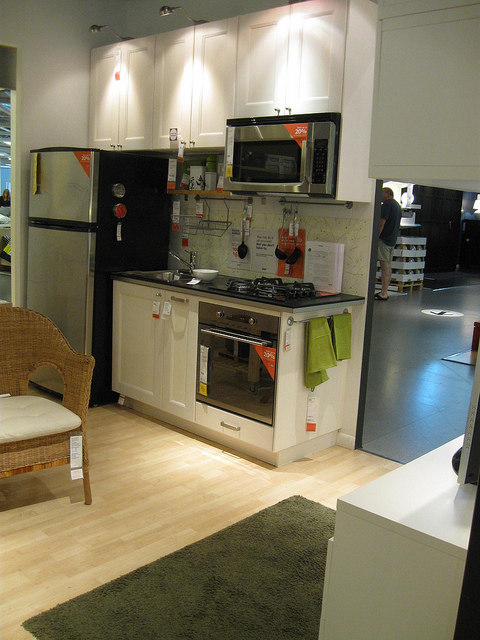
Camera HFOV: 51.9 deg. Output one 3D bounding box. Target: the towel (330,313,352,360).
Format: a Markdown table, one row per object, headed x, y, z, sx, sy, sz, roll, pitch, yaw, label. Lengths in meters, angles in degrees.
| x | y | z | sx | sy | sz | roll | pitch | yaw | label |
| --- | --- | --- | --- | --- | --- | --- | --- | --- | --- |
| 0.615 | 0.101 | 3.024 | 0.069 | 0.256 | 0.201 | 6 | 8 | 40 | towel |

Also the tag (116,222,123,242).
| x | y | z | sx | sy | sz | roll | pitch | yaw | label |
| --- | --- | --- | --- | --- | --- | --- | --- | --- | --- |
| -0.906 | -0.657 | 3.708 | 0.015 | 0.131 | 0.055 | 9 | 14 | 27 | tag |

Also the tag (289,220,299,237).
| x | y | z | sx | sy | sz | roll | pitch | yaw | label |
| --- | --- | --- | --- | --- | --- | --- | --- | --- | --- |
| 0.358 | -0.623 | 3.386 | 0.074 | 0.117 | 0.081 | 8 | 13 | 21 | tag |

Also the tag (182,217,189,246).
| x | y | z | sx | sy | sz | roll | pitch | yaw | label |
| --- | --- | --- | --- | --- | --- | --- | --- | --- | --- |
| -0.454 | -0.729 | 4.098 | 0.071 | 0.233 | 0.018 | 13 | 16 | 39 | tag |

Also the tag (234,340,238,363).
| x | y | z | sx | sy | sz | roll | pitch | yaw | label |
| --- | --- | --- | --- | --- | --- | --- | --- | --- | --- |
| -0.027 | 0.193 | 2.936 | 0.006 | 0.137 | 0.042 | -5 | 15 | -33 | tag |

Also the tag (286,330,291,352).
| x | y | z | sx | sy | sz | roll | pitch | yaw | label |
| --- | --- | --- | --- | --- | --- | --- | --- | --- | --- |
| 0.265 | 0.120 | 2.745 | 0.008 | 0.114 | 0.045 | 12 | 15 | 35 | tag |

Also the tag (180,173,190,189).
| x | y | z | sx | sy | sz | roll | pitch | yaw | label |
| --- | --- | --- | --- | --- | --- | --- | --- | --- | --- |
| -0.427 | -1.069 | 3.795 | 0.068 | 0.128 | 0.067 | 32 | 36 | 23 | tag |

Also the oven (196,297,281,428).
| x | y | z | sx | sy | sz | roll | pitch | yaw | label |
| --- | --- | --- | --- | --- | --- | --- | --- | --- | --- |
| 0.032 | 0.247 | 3.153 | 0.610 | 0.733 | 0.537 | 9 | 5 | 35 | oven |

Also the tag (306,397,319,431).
| x | y | z | sx | sy | sz | roll | pitch | yaw | label |
| --- | --- | --- | --- | --- | --- | --- | --- | --- | --- |
| 0.430 | 0.574 | 2.973 | 0.065 | 0.206 | 0.036 | 2 | 12 | -1 | tag |

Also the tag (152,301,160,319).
| x | y | z | sx | sy | sz | roll | pitch | yaw | label |
| --- | --- | --- | --- | --- | --- | --- | --- | --- | --- |
| -0.582 | -0.067 | 3.420 | 0.007 | 0.147 | 0.107 | 0 | 5 | -42 | tag |

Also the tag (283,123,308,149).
| x | y | z | sx | sy | sz | roll | pitch | yaw | label |
| --- | --- | --- | --- | --- | --- | --- | --- | --- | --- |
| 0.314 | -1.055 | 2.824 | 0.031 | 0.127 | 0.136 | -12 | 27 | -34 | tag |

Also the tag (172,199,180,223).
| x | y | z | sx | sy | sz | roll | pitch | yaw | label |
| --- | --- | --- | --- | --- | --- | --- | --- | --- | --- |
| -0.532 | -0.900 | 4.088 | 0.056 | 0.189 | 0.161 | 1 | 12 | -9 | tag |

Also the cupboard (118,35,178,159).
| x | y | z | sx | sy | sz | roll | pitch | yaw | label |
| --- | --- | --- | --- | --- | --- | --- | --- | --- | --- |
| -0.799 | -1.818 | 4.093 | 0.573 | 0.790 | 0.579 | -1 | 12 | -16 | cupboard |

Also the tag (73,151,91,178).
| x | y | z | sx | sy | sz | roll | pitch | yaw | label |
| --- | --- | --- | --- | --- | --- | --- | --- | --- | --- |
| -1.129 | -1.121 | 3.551 | 0.180 | 0.176 | 0.031 | 13 | 16 | 41 | tag |

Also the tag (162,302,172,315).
| x | y | z | sx | sy | sz | roll | pitch | yaw | label |
| --- | --- | --- | --- | --- | --- | --- | --- | --- | --- |
| -0.494 | -0.074 | 3.345 | 0.011 | 0.105 | 0.076 | -6 | 13 | -43 | tag |

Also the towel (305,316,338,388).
| x | y | z | sx | sy | sz | roll | pitch | yaw | label |
| --- | --- | --- | --- | --- | --- | --- | --- | --- | --- |
| 0.469 | 0.191 | 2.893 | 0.221 | 0.409 | 0.067 | -8 | 16 | -41 | towel |

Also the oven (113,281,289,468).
| x | y | z | sx | sy | sz | roll | pitch | yaw | label |
| --- | --- | --- | --- | --- | --- | --- | --- | --- | --- |
| -0.250 | 0.277 | 3.437 | 1.483 | 0.979 | 0.509 | 12 | 13 | 38 | oven |

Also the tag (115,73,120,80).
| x | y | z | sx | sy | sz | roll | pitch | yaw | label |
| --- | --- | --- | --- | --- | --- | --- | --- | --- | --- |
| -1.001 | -1.997 | 4.038 | 0.064 | 0.069 | 0.008 | 9 | 17 | 30 | tag |
